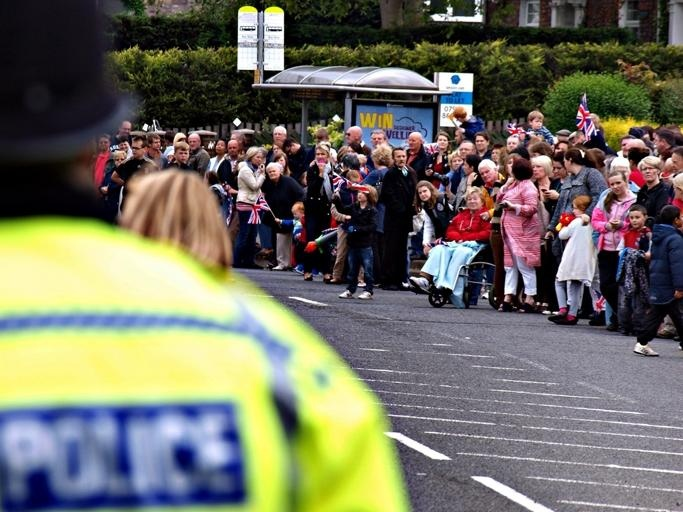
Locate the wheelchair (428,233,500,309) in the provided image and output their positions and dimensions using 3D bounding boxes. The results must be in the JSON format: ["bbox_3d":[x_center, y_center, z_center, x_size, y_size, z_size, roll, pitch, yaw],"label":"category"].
[{"bbox_3d":[1.421,-0.141,14.353,0.715,1.160,0.626,-1,15,-33],"label":"wheelchair"}]
